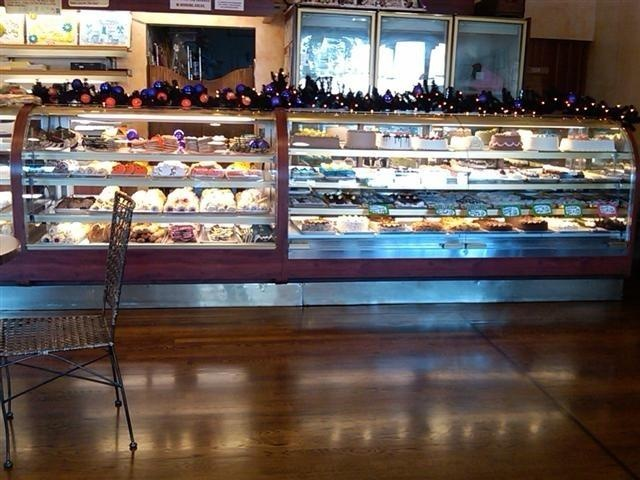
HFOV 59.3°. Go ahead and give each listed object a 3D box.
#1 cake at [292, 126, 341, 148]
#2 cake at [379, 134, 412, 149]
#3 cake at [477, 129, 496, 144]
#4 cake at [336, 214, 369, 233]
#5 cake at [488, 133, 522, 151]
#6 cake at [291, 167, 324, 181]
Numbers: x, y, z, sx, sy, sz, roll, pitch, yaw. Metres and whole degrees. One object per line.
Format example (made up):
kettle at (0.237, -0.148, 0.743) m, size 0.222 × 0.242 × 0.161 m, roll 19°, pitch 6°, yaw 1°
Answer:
cake at (-0.048, -0.879, 4.805) m, size 0.439 × 0.179 × 0.119 m, roll -7°, pitch 14°, yaw -29°
cake at (0.668, -0.868, 4.942) m, size 0.273 × 0.104 × 0.133 m, roll 1°, pitch 4°, yaw -4°
cake at (1.516, -0.970, 5.187) m, size 0.173 × 0.086 × 0.137 m, roll -1°, pitch 12°, yaw -2°
cake at (0.277, -0.143, 4.930) m, size 0.309 × 0.167 × 0.152 m, roll 1°, pitch 14°, yaw -2°
cake at (1.685, -0.896, 5.076) m, size 0.220 × 0.100 × 0.195 m, roll 0°, pitch 10°, yaw 4°
cake at (-0.134, -0.580, 4.822) m, size 0.312 × 0.125 × 0.090 m, roll -7°, pitch 14°, yaw -30°
